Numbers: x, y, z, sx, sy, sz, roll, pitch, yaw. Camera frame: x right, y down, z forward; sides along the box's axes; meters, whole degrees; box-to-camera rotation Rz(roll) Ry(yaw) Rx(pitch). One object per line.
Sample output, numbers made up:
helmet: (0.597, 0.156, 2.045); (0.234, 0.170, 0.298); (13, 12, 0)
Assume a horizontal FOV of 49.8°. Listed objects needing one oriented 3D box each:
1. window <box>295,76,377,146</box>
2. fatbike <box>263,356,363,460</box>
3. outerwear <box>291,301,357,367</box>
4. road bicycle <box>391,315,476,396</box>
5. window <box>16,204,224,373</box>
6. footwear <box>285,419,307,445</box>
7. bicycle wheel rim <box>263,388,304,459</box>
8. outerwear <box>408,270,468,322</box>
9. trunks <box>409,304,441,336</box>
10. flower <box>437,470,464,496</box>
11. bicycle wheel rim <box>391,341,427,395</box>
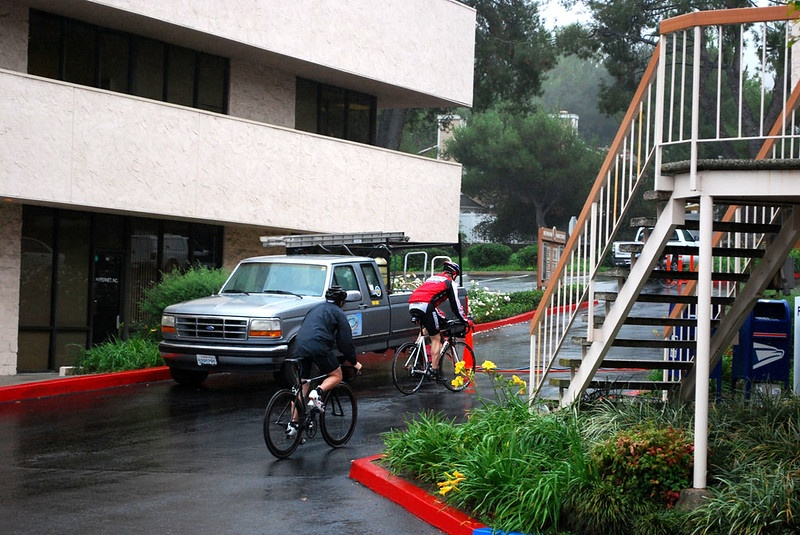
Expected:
window: (-2.062, -4.824, 26.275); (0.108, 1.384, 2.382); (8, 4, 43)
fatbike: (-1.287, 2.046, 12.750); (0.821, 1.392, 2.193); (-4, -5, 31)
outerwear: (-1.181, 0.934, 12.867); (0.984, 0.910, 0.604); (1, -12, 36)
road bicycle: (0.657, 1.726, 16.936); (0.620, 1.464, 2.411); (-3, -7, 41)
window: (-6.973, 0.656, 21.343); (6.012, 3.768, 0.326); (-1, 10, -40)
footwear: (-1.493, 2.376, 12.514); (0.166, 0.239, 0.468); (-10, -18, 8)
bicycle wheel rim: (-1.650, 2.247, 12.305); (0.097, 0.871, 0.869); (-4, 5, 34)
outerwear: (0.690, 0.534, 16.824); (1.099, 0.938, 0.815); (9, -4, -30)
trunks: (0.462, 0.986, 16.369); (0.523, 0.599, 0.312); (-1, 3, -8)
flower: (0.586, 2.551, 10.234); (0.285, 0.333, 0.496); (-1, 3, -10)
bicycle wheel rim: (0.213, 1.861, 16.454); (0.892, 1.054, 0.346); (-3, 4, -40)
